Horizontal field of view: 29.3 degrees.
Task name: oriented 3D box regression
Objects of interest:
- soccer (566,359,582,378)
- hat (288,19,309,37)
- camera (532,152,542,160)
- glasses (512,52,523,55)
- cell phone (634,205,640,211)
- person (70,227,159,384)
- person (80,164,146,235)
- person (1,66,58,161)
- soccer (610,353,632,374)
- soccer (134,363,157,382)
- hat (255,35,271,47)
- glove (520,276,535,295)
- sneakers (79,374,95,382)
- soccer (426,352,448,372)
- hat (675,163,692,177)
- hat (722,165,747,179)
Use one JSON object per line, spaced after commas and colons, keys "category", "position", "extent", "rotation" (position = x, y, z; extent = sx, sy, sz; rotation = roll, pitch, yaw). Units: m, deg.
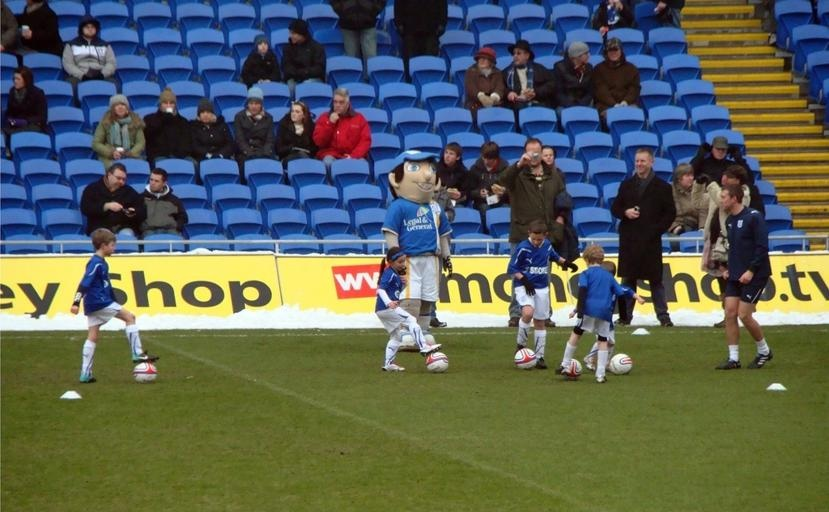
{"category": "soccer", "position": [2.618, 1.887, 26.190], "extent": [0.252, 0.247, 0.311], "rotation": [-1, -7, 5]}
{"category": "hat", "position": [-2.529, -4.986, 34.573], "extent": [0.455, 0.373, 0.235], "rotation": [-2, 0, -22]}
{"category": "camera", "position": [2.251, -1.848, 29.346], "extent": [0.156, 0.126, 0.197], "rotation": [1, -2, 6]}
{"category": "glasses", "position": [2.244, -4.437, 34.627], "extent": [0.107, 0.028, 0.111], "rotation": [-1, -2, 36]}
{"category": "cell phone", "position": [4.274, -0.909, 30.537], "extent": [0.095, 0.075, 0.087], "rotation": [-1, -4, 5]}
{"category": "person", "position": [-5.070, 0.812, 26.026], "extent": [1.121, 2.537, 0.848], "rotation": [-2, 0, -11]}
{"category": "person", "position": [-5.983, -1.088, 31.405], "extent": [1.264, 1.470, 0.565], "rotation": [-2, 0, -9]}
{"category": "person", "position": [-8.155, -3.006, 33.126], "extent": [0.900, 1.879, 0.562], "rotation": [-2, 0, -11]}
{"category": "soccer", "position": [3.401, 1.824, 26.404], "extent": [0.356, 0.343, 0.174], "rotation": [-2, 0, 2]}
{"category": "soccer", "position": [-4.368, 1.901, 25.727], "extent": [0.345, 0.308, 0.346], "rotation": [0, 0, 18]}
{"category": "hat", "position": [-3.380, -4.749, 34.846], "extent": [0.253, 0.176, 0.280], "rotation": [-8, -7, -12]}
{"category": "glove", "position": [1.911, 0.525, 26.936], "extent": [0.188, 0.343, 0.114], "rotation": [-39, -17, 11]}
{"category": "sneakers", "position": [-5.325, 2.028, 25.746], "extent": [0.156, 0.104, 0.166], "rotation": [-7, -17, -3]}
{"category": "soccer", "position": [0.357, 1.795, 26.558], "extent": [0.350, 0.341, 0.316], "rotation": [-2, 0, -2]}
{"category": "hat", "position": [5.374, -1.725, 31.852], "extent": [0.310, 0.240, 0.227], "rotation": [-24, 6, 22]}
{"category": "hat", "position": [5.508, -1.427, 27.279], "extent": [0.340, 0.251, 0.512], "rotation": [-2, 0, 10]}
